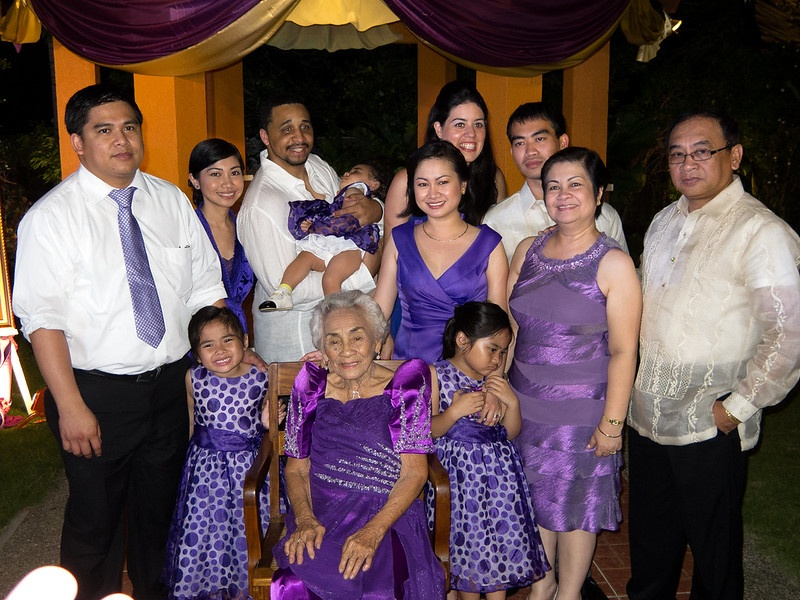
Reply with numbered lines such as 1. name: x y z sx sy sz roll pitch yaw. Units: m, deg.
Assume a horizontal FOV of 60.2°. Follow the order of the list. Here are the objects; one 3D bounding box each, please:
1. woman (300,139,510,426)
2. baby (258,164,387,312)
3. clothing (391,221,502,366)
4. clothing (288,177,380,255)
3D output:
1. woman: 0.169 0.156 4.043 0.842 2.125 0.671 -4 32 3
2. baby: -0.447 -0.459 4.262 0.569 0.615 1.183 15 38 24
3. clothing: 0.261 -0.044 3.713 0.554 0.737 0.414 7 24 12
4. clothing: -0.385 -0.501 4.172 0.436 0.339 0.205 5 -15 -23
